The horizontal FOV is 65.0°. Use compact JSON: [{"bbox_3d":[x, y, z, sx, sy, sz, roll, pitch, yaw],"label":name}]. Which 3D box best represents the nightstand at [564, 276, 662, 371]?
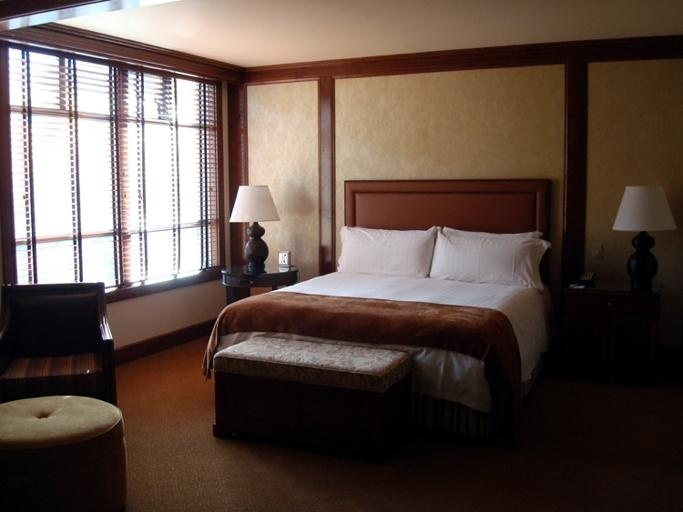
[{"bbox_3d":[2.319,0.586,4.849,0.920,0.965,0.651,0,1,21],"label":"nightstand"}]

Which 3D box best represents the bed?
[{"bbox_3d":[0.664,0.487,4.421,1.985,1.453,2.675,2,6,25],"label":"bed"}]

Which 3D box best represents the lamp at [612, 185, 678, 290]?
[{"bbox_3d":[2.642,-0.173,4.643,0.515,0.858,0.374,-7,12,-31],"label":"lamp"}]
